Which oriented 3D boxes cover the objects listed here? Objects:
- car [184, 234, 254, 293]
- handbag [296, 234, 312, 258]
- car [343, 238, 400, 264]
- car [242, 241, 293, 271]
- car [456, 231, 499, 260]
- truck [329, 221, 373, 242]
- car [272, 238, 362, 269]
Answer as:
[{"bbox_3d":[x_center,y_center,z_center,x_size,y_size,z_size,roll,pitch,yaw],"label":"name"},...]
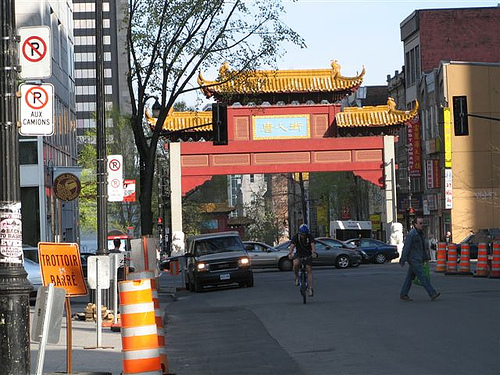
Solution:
[{"bbox_3d":[-1.075,2.515,33.526,2.277,1.899,1.763,-5,-4,-4],"label":"car"},{"bbox_3d":[1.528,1.580,27.200,0.400,0.615,0.553,-2,-7,-1],"label":"handbag"},{"bbox_3d":[6.547,3.268,50.880,2.674,0.963,1.235,2,-4,-7],"label":"car"},{"bbox_3d":[0.850,3.311,45.810,2.024,1.595,1.902,0,-1,-24],"label":"car"},{"bbox_3d":[10.162,2.485,42.925,2.233,1.410,1.433,1,-4,1],"label":"car"},{"bbox_3d":[7.493,3.062,71.916,3.067,1.742,2.206,0,-3,6],"label":"truck"},{"bbox_3d":[3.548,3.094,45.618,3.341,1.224,1.474,-1,-1,-8],"label":"car"}]
